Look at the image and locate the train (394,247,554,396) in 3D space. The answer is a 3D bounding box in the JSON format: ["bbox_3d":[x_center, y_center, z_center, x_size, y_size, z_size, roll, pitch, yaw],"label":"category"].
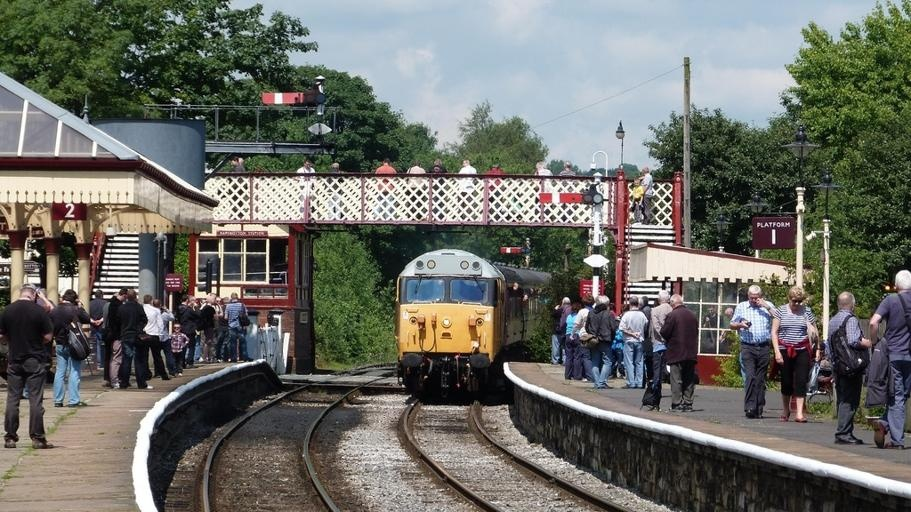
[{"bbox_3d":[0.630,2.481,49.321,4.001,5.434,14.282,0,-2,5],"label":"train"}]

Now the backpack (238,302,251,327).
[{"bbox_3d":[-7.838,2.193,52.797,0.455,0.849,0.743,-6,12,0],"label":"backpack"}]

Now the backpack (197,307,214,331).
[{"bbox_3d":[-8.678,2.159,49.366,0.486,0.900,0.712,2,5,-30],"label":"backpack"}]

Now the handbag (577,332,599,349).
[{"bbox_3d":[4.039,2.626,43.804,0.407,0.247,0.513,-5,-38,32],"label":"handbag"}]
